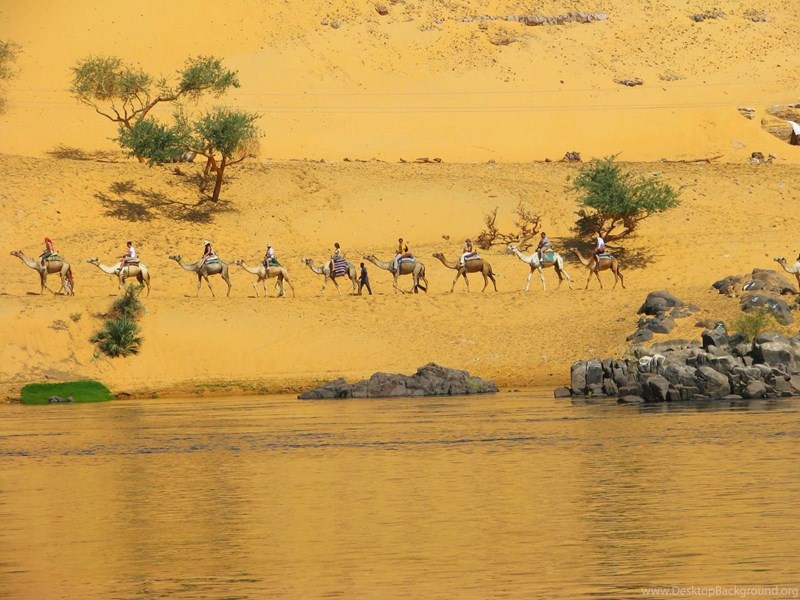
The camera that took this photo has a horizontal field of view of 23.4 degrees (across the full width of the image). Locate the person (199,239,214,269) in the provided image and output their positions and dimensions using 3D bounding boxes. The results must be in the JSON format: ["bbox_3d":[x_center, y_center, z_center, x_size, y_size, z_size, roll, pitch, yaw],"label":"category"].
[{"bbox_3d":[-7.223,-1.880,73.714,0.557,0.902,1.081,1,24,-6],"label":"person"}]

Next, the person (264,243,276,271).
[{"bbox_3d":[-4.915,-1.555,73.959,0.432,1.165,0.704,0,8,-8],"label":"person"}]
